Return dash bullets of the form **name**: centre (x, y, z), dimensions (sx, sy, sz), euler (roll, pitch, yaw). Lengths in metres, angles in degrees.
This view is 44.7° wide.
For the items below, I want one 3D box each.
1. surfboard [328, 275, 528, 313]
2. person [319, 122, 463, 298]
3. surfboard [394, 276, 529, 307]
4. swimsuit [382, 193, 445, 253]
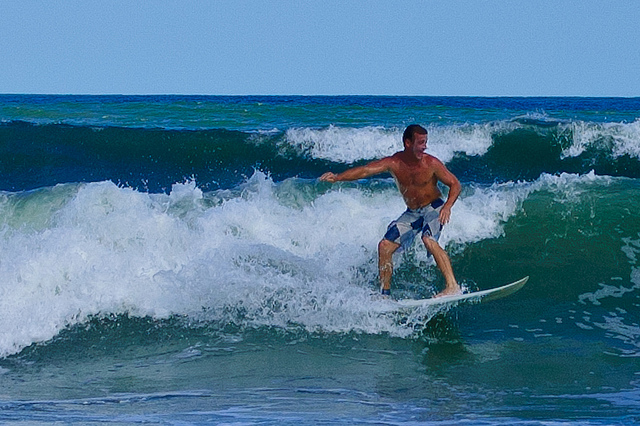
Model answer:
- **surfboard**: centre (1.547, 1.192, 10.825), dimensions (2.851, 0.403, 0.270), euler (-13, -4, 25)
- **person**: centre (1.250, -0.011, 10.882), dimensions (1.423, 2.335, 0.504), euler (-4, 0, 9)
- **surfboard**: centre (1.976, 1.144, 10.977), dimensions (1.830, 0.372, 0.380), euler (-3, 0, -10)
- **swimsuit**: centre (1.354, 0.160, 11.016), dimensions (0.829, 0.971, 0.590), euler (-6, -14, 31)
